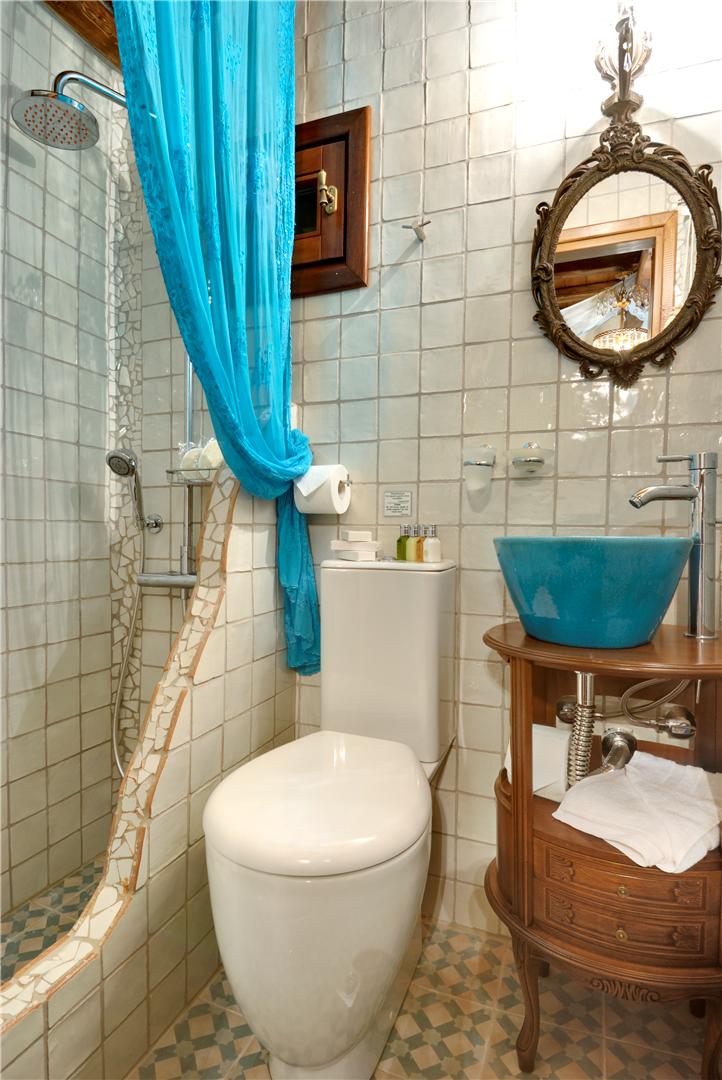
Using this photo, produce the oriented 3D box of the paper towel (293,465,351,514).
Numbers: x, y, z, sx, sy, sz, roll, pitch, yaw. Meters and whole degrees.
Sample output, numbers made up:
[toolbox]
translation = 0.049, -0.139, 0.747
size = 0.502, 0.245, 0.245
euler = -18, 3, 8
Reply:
[paper towel]
translation = -0.090, -0.116, 1.938
size = 0.121, 0.120, 0.106
euler = -3, 6, 18
